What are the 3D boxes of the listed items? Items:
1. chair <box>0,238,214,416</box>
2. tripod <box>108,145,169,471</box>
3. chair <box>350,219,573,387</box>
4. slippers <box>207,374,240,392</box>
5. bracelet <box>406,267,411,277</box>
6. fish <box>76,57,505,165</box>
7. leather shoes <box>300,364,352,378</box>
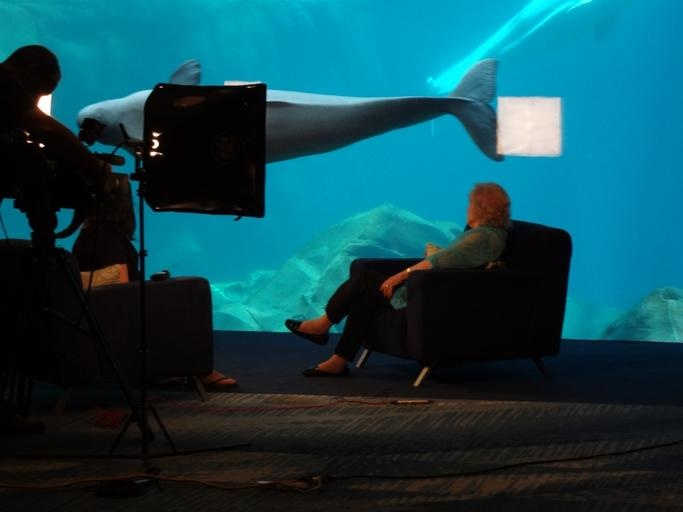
[{"bbox_3d":[-1.451,0.377,4.599,1.040,0.676,1.042,1,-2,-40],"label":"chair"},{"bbox_3d":[-1.059,0.217,4.197,0.319,1.580,1.035,0,6,-15],"label":"tripod"},{"bbox_3d":[0.652,0.295,5.528,1.616,0.918,1.490,1,3,24],"label":"chair"},{"bbox_3d":[-0.746,0.775,4.852,0.256,0.137,0.079,-1,6,-9],"label":"slippers"},{"bbox_3d":[0.422,0.103,4.999,0.038,0.033,0.043,-2,3,10],"label":"bracelet"},{"bbox_3d":[-0.381,-1.273,8.156,4.161,1.454,0.836,-2,-20,-4],"label":"fish"},{"bbox_3d":[-0.108,0.756,5.205,0.325,0.065,0.093,2,-7,-3],"label":"leather shoes"}]
